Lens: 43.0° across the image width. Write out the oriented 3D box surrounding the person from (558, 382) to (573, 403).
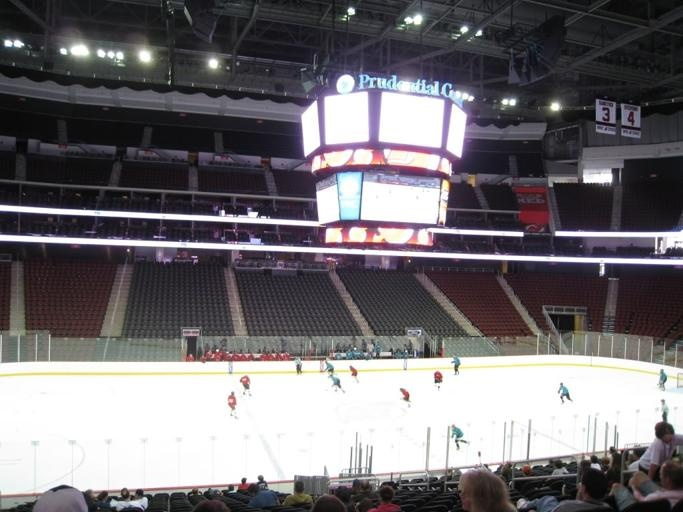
[{"bbox_3d":[10.650,6.490,41.312,0.628,0.944,1.877,-6,-15,14],"label":"person"}]
